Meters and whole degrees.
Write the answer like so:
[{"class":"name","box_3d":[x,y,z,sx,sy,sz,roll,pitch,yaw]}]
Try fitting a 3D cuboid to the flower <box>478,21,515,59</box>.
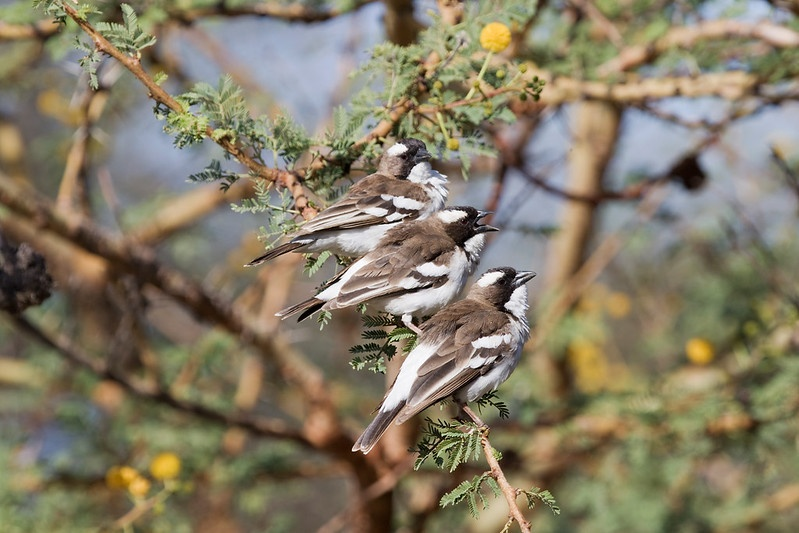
[{"class":"flower","box_3d":[0.766,-1.869,8.295,0.290,0.155,0.281,33,68,-2]}]
